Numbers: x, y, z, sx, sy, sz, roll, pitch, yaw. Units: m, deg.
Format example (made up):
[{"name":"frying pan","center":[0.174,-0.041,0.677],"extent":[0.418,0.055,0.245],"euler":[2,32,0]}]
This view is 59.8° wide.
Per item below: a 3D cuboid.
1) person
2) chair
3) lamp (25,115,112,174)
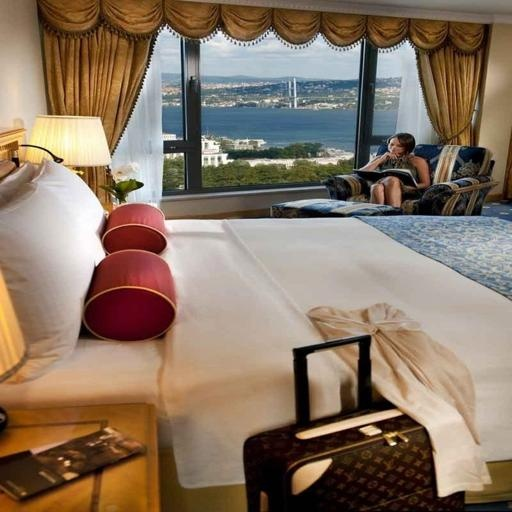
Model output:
[{"name":"person","center":[1.390,-0.762,4.565],"extent":[0.632,1.013,0.599],"euler":[6,1,35]},{"name":"chair","center":[1.626,-0.759,4.460],"extent":[1.119,0.902,1.175],"euler":[-7,12,-44]},{"name":"lamp","center":[-1.060,-0.660,2.800],"extent":[0.617,0.374,0.554],"euler":[0,12,-13]}]
